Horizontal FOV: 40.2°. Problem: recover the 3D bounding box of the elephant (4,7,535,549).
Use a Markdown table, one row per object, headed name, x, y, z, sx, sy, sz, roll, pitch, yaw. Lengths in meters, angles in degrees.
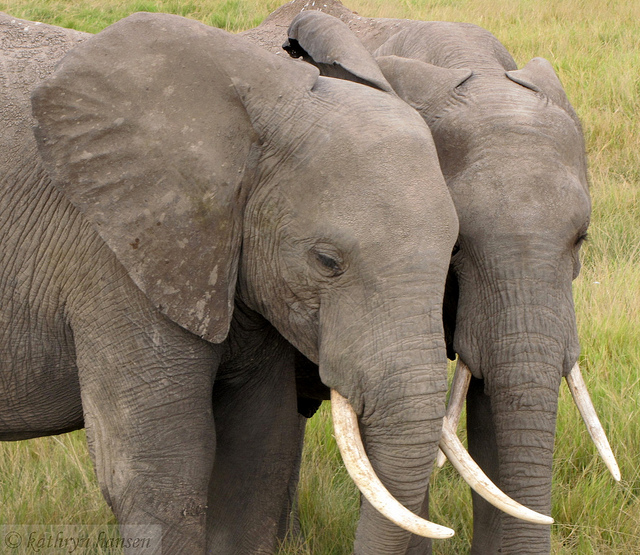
| name | x | y | z | sx | sy | sz | roll | pitch | yaw |
| --- | --- | --- | --- | --- | --- | --- | --- | --- | --- |
| elephant | -0.414 | -0.044 | 3.188 | 2.440 | 1.448 | 1.194 | 3 | 5 | 40 |
